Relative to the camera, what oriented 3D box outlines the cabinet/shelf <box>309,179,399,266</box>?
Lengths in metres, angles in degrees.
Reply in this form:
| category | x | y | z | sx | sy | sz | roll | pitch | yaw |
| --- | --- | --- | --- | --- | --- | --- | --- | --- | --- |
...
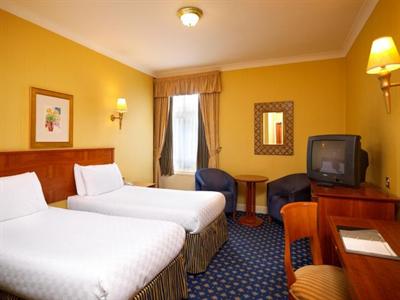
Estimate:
| category | x | y | z | sx | sy | sz | roll | pitch | yaw |
| --- | --- | --- | --- | --- | --- | --- | --- | --- | --- |
| cabinet/shelf | 2.088 | 1.099 | 4.340 | 0.846 | 1.353 | 1.331 | 1 | 0 | 7 |

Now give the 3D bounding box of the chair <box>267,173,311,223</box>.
| category | x | y | z | sx | sy | sz | roll | pitch | yaw |
| --- | --- | --- | --- | --- | --- | --- | --- | --- | --- |
| chair | 1.722 | 0.956 | 5.788 | 0.796 | 0.934 | 0.785 | 10 | 9 | 38 |

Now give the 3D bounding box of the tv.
| category | x | y | z | sx | sy | sz | roll | pitch | yaw |
| --- | --- | --- | --- | --- | --- | --- | --- | --- | --- |
| tv | 2.115 | 0.109 | 4.684 | 0.524 | 0.761 | 0.713 | -15 | 15 | -41 |

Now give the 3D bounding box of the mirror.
| category | x | y | z | sx | sy | sz | roll | pitch | yaw |
| --- | --- | --- | --- | --- | --- | --- | --- | --- | --- |
| mirror | 1.574 | -0.475 | 6.402 | 0.829 | 1.299 | 0.091 | 0 | 32 | 16 |

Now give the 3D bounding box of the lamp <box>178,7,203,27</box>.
| category | x | y | z | sx | sy | sz | roll | pitch | yaw |
| --- | --- | --- | --- | --- | --- | --- | --- | --- | --- |
| lamp | -0.160 | -2.026 | 4.620 | 0.389 | 0.191 | 0.410 | 3 | 4 | 25 |

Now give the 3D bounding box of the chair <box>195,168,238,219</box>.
| category | x | y | z | sx | sy | sz | roll | pitch | yaw |
| --- | --- | --- | --- | --- | --- | --- | --- | --- | --- |
| chair | 0.318 | 0.934 | 6.393 | 0.838 | 1.052 | 0.875 | 0 | -3 | -20 |

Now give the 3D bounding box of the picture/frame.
| category | x | y | z | sx | sy | sz | roll | pitch | yaw |
| --- | --- | --- | --- | --- | --- | --- | --- | --- | --- |
| picture/frame | -2.426 | -0.507 | 4.918 | 0.117 | 1.003 | 0.831 | 6 | 12 | 31 |

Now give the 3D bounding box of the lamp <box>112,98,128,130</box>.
| category | x | y | z | sx | sy | sz | roll | pitch | yaw |
| --- | --- | --- | --- | --- | --- | --- | --- | --- | --- |
| lamp | -1.657 | -0.720 | 6.092 | 0.340 | 0.646 | 0.504 | -4 | 11 | -17 |

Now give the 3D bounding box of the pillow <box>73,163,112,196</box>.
| category | x | y | z | sx | sy | sz | roll | pitch | yaw |
| --- | --- | --- | --- | --- | --- | --- | --- | --- | --- |
| pillow | -1.830 | 0.534 | 5.053 | 0.128 | 0.488 | 0.437 | -7 | -10 | 44 |

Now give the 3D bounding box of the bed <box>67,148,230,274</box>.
| category | x | y | z | sx | sy | sz | roll | pitch | yaw |
| --- | --- | --- | --- | --- | --- | --- | --- | --- | --- |
| bed | -0.848 | 0.843 | 4.798 | 2.075 | 1.466 | 1.372 | 15 | 25 | 16 |
